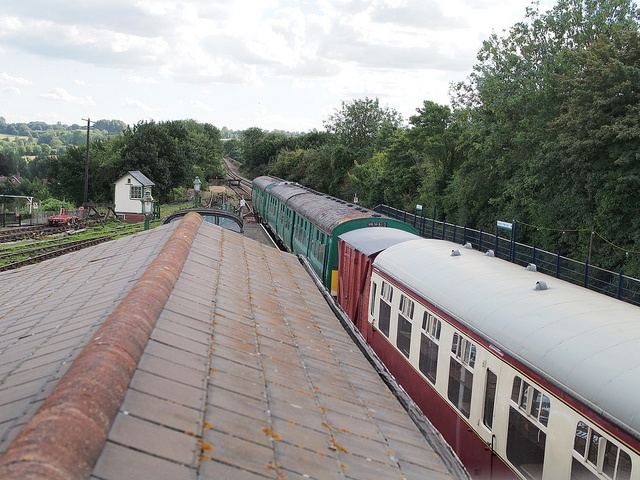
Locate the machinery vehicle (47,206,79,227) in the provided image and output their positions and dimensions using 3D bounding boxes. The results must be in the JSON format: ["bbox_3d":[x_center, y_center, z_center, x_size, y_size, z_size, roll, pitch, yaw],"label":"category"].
[{"bbox_3d":[-22.349,-1.859,40.263,1.243,1.223,2.252,1,1,-1],"label":"machinery vehicle"}]
